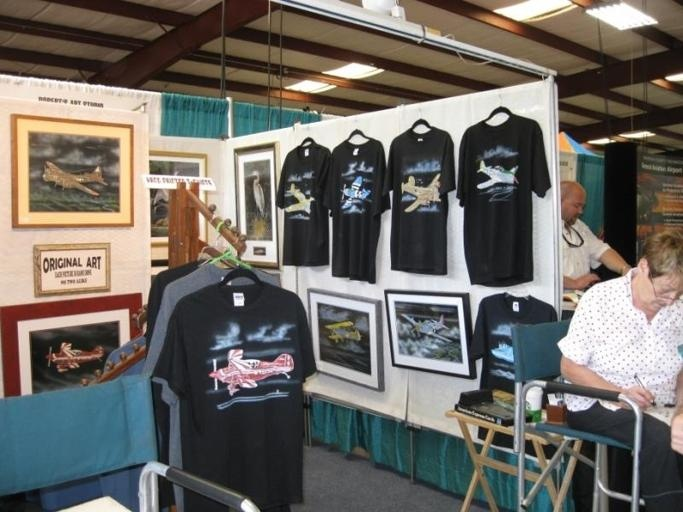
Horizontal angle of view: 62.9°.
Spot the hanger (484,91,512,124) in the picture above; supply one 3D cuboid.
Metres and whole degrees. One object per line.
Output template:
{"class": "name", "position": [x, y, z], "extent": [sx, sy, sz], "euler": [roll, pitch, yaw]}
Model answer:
{"class": "hanger", "position": [1.003, -0.953, 3.555], "extent": [0.226, 0.213, 0.011], "euler": [14, 32, 30]}

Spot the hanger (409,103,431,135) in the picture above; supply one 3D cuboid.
{"class": "hanger", "position": [0.554, -0.960, 3.897], "extent": [0.245, 0.254, 0.010], "euler": [7, 21, 36]}

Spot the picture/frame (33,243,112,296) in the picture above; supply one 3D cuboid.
{"class": "picture/frame", "position": [-1.723, 0.085, 3.589], "extent": [0.527, 0.335, 0.021], "euler": [-3, -2, 5]}

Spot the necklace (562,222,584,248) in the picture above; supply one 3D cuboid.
{"class": "necklace", "position": [1.837, -0.157, 4.450], "extent": [0.159, 0.266, 0.066], "euler": [4, -28, -20]}

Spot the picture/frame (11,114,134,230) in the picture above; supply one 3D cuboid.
{"class": "picture/frame", "position": [-1.735, -0.540, 3.520], "extent": [0.837, 0.707, 0.064], "euler": [-1, 0, -34]}

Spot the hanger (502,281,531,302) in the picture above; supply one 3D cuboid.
{"class": "hanger", "position": [1.128, 0.222, 3.560], "extent": [0.035, 0.109, 0.122], "euler": [12, -9, -42]}

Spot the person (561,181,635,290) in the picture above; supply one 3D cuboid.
{"class": "person", "position": [2.340, -0.201, 5.033], "extent": [0.715, 1.143, 0.926], "euler": [-4, 11, 29]}
